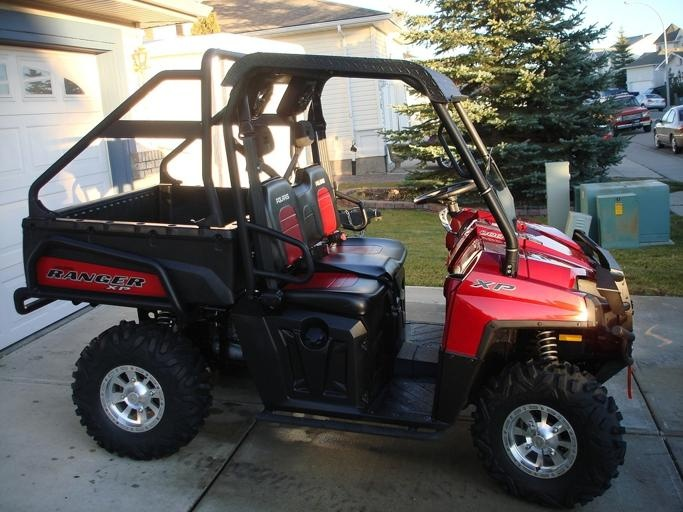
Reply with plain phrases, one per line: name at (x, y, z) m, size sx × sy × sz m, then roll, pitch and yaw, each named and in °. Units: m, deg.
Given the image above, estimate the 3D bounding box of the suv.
suv at (-0.128, -0.012, 3.515) m, size 3.799 × 2.836 × 1.934 m, roll 3°, pitch 19°, yaw 23°
